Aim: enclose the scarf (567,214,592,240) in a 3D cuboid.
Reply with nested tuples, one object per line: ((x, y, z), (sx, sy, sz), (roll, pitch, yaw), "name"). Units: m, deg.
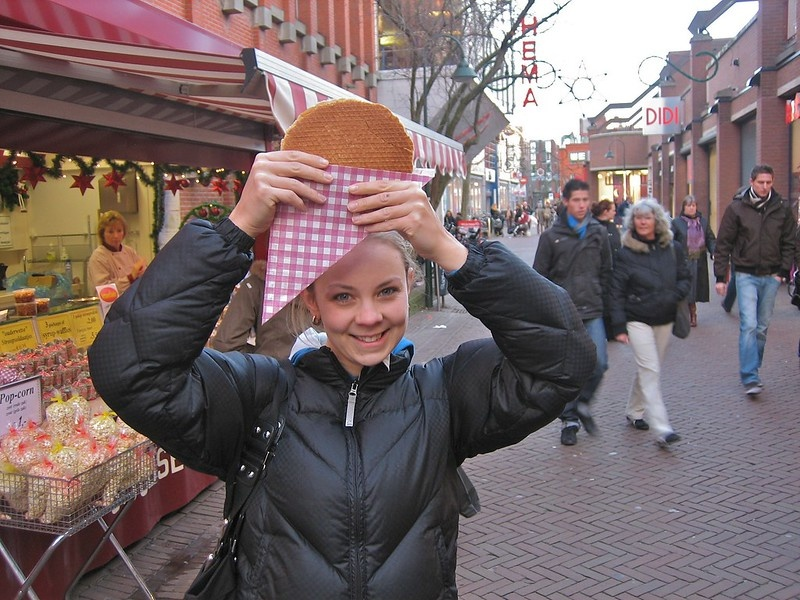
((1.834, -0.750, 6.602), (0.196, 0.248, 0.267), (-3, -4, 41), "scarf")

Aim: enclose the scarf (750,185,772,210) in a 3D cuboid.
((4.467, -1.280, 7.948), (0.199, 0.274, 0.161), (3, 29, 10), "scarf")

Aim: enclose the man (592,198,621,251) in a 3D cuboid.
((3.878, -1.232, 11.706), (0.322, 1.091, 0.520), (-19, -8, 28), "man")

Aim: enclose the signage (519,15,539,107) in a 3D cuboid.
((3.414, -6.324, 16.922), (0.510, 2.560, 0.047), (0, 1, 8), "signage")

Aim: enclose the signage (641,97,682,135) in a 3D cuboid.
((13.848, -9.772, 34.364), (2.171, 2.012, 0.812), (-3, 5, -2), "signage")

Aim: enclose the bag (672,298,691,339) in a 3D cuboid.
((2.802, 0.230, 6.334), (0.150, 0.356, 0.156), (-13, 14, -43), "bag")
